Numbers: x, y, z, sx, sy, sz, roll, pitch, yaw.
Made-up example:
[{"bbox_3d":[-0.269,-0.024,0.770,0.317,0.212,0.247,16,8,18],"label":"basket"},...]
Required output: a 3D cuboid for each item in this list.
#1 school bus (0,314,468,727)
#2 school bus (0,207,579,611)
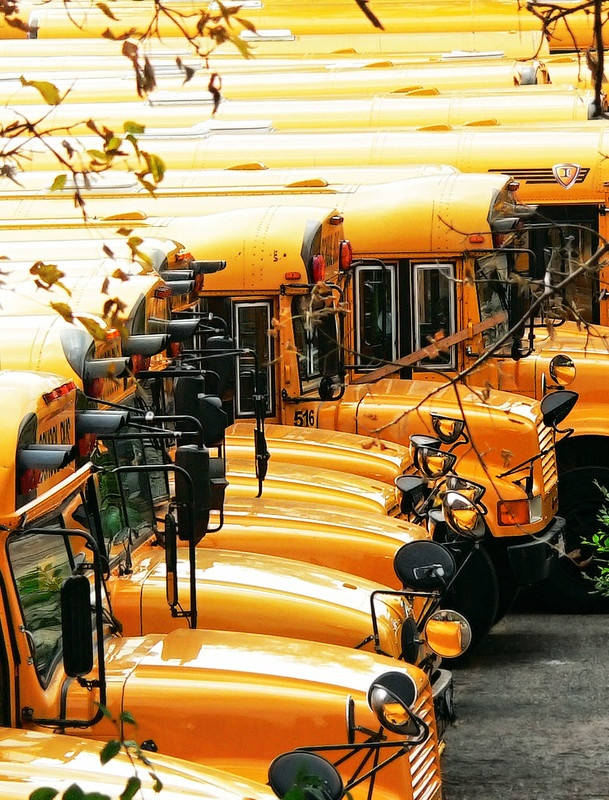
[{"bbox_3d":[-0.270,0.493,3.899,2.286,1.404,1.542,1,7,7],"label":"school bus"},{"bbox_3d":[-0.858,-0.073,6.273,5.188,2.651,2.142,1,12,10],"label":"school bus"}]
